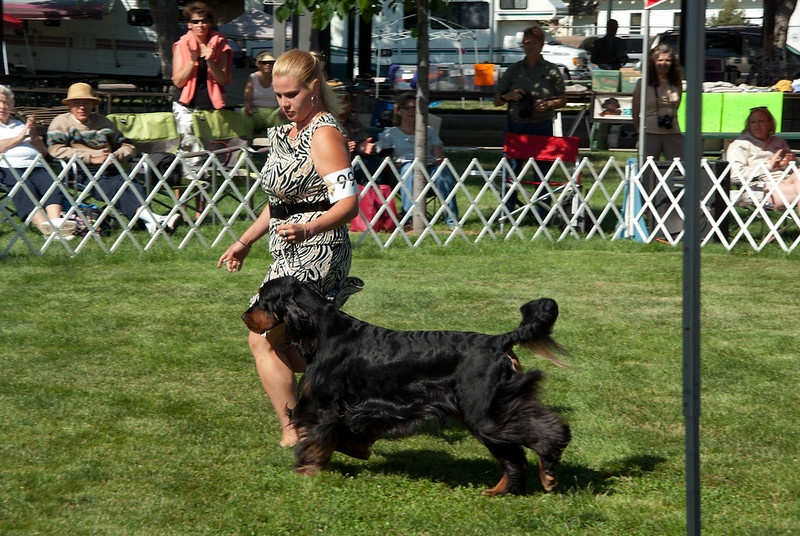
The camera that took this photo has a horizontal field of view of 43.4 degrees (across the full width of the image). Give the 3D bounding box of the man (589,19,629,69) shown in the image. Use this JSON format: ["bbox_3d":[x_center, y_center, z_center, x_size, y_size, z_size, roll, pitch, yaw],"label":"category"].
[{"bbox_3d":[4.745,-5.097,22.807,0.733,1.135,1.149,0,12,9],"label":"man"}]

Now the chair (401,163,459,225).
[{"bbox_3d":[0.318,-0.891,13.061,0.609,0.471,0.500,10,7,15],"label":"chair"}]

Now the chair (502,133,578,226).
[{"bbox_3d":[1.819,-1.177,13.143,1.186,0.996,0.925,-3,36,-19],"label":"chair"}]

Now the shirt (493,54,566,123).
[{"bbox_3d":[1.738,-2.364,13.357,0.905,0.847,0.371,0,13,5],"label":"shirt"}]

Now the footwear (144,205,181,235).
[{"bbox_3d":[-2.908,-0.579,12.378,0.671,0.312,1.149,2,1,-13],"label":"footwear"}]

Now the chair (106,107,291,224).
[{"bbox_3d":[-2.713,-1.720,13.678,2.218,2.007,1.977,-1,-2,-19],"label":"chair"}]

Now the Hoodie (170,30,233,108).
[{"bbox_3d":[-2.658,-2.652,13.457,0.928,0.717,0.537,-2,13,-26],"label":"Hoodie"}]

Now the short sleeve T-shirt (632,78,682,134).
[{"bbox_3d":[3.279,-2.135,13.000,0.792,0.615,0.453,-7,21,-30],"label":"short sleeve T-shirt"}]

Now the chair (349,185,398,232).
[{"bbox_3d":[-0.295,-0.766,12.724,0.927,0.619,0.672,1,-3,-8],"label":"chair"}]

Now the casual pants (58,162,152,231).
[{"bbox_3d":[-3.436,-0.958,12.307,0.911,0.261,1.280,-1,22,-33],"label":"casual pants"}]

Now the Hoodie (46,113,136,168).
[{"bbox_3d":[-3.911,-1.648,12.562,0.763,0.491,1.243,20,20,28],"label":"Hoodie"}]

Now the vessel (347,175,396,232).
[{"bbox_3d":[-0.242,-0.735,12.915,0.819,0.546,0.612,2,14,9],"label":"vessel"}]

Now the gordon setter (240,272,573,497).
[{"bbox_3d":[0.026,0.931,7.462,2.475,0.954,0.650,1,10,13],"label":"gordon setter"}]

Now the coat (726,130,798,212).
[{"bbox_3d":[4.576,-1.225,12.703,0.842,0.938,0.861,1,12,10],"label":"coat"}]

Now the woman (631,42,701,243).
[{"bbox_3d":[3.309,-1.614,12.916,0.618,2.481,0.891,1,14,12],"label":"woman"}]

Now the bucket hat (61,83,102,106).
[{"bbox_3d":[-3.930,-2.160,12.379,0.431,0.118,0.360,-2,1,-15],"label":"bucket hat"}]

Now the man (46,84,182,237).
[{"bbox_3d":[-3.386,-1.327,12.220,1.195,1.203,2.199,-24,48,-32],"label":"man"}]
